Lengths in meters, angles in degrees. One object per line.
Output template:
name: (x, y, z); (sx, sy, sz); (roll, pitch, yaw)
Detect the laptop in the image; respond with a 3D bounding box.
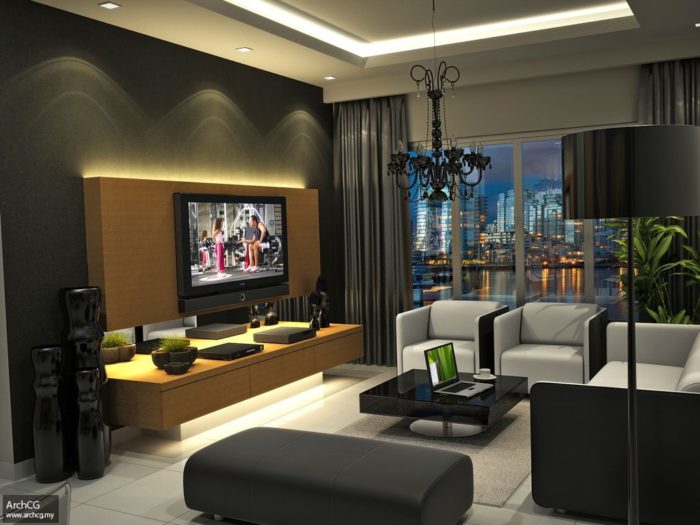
laptop: (0.872, 0.858, 4.266); (0.498, 0.358, 0.414); (-1, -2, -42)

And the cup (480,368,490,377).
cup: (1.144, 0.938, 4.502); (0.064, 0.050, 0.060); (-2, 0, 0)

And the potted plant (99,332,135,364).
potted plant: (-1.937, 0.707, 4.480); (0.262, 0.256, 0.244); (0, 1, 9)

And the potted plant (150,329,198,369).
potted plant: (-1.391, 0.744, 4.267); (0.326, 0.230, 0.326); (-5, 4, -37)

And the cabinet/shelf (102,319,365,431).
cabinet/shelf: (-0.971, 0.948, 5.181); (0.808, 0.447, 2.802); (0, 4, 35)

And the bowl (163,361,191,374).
bowl: (-1.350, 0.808, 4.145); (0.124, 0.050, 0.105); (0, 1, 15)

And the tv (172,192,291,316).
tv: (-1.176, -0.097, 5.132); (0.116, 0.895, 1.218); (1, 5, 30)

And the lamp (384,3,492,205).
lamp: (0.877, -1.490, 5.241); (0.982, 1.818, 2.590); (-2, 3, 7)
